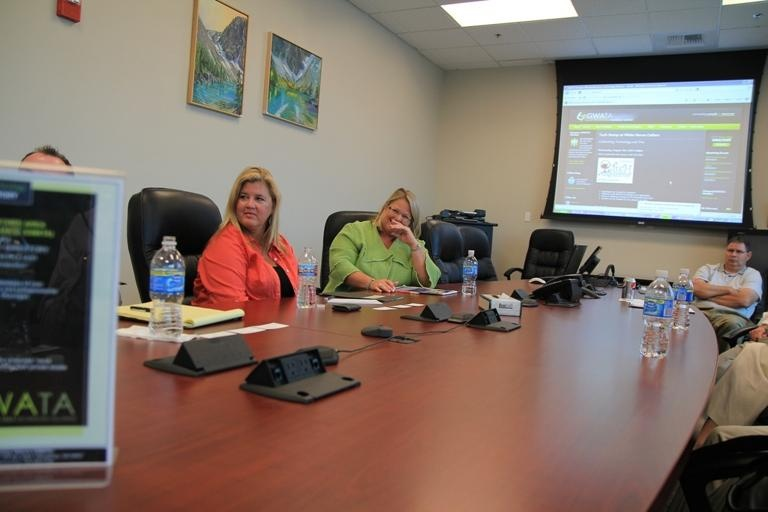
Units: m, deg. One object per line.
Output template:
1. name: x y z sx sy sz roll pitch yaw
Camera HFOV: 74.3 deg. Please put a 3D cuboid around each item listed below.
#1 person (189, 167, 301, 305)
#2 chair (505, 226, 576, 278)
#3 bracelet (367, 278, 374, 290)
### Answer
1. person: -0.620 -0.009 2.459 0.487 0.796 0.537 -2 -2 30
2. chair: 1.791 -0.016 5.592 0.524 0.574 0.377 7 9 22
3. bracelet: -0.071 0.149 2.758 0.013 0.045 0.038 12 16 20
